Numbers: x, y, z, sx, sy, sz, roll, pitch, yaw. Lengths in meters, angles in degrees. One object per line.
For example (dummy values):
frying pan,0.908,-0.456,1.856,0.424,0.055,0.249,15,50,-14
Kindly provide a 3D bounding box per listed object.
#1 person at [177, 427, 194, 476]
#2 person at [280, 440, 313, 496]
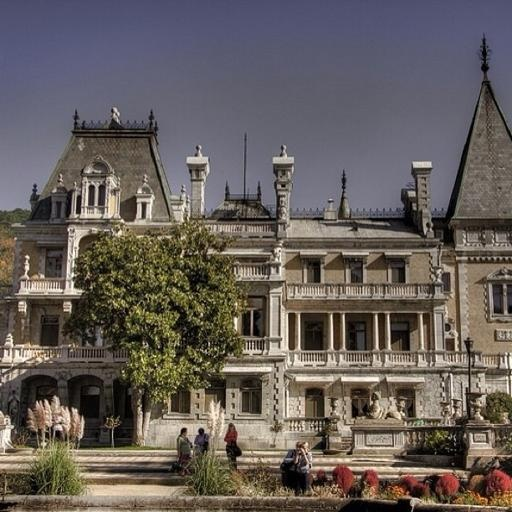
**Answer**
person,-2.304,6.343,28.812,0.460,1.584,0.402,-1,13,-18
person,1.140,5.586,23.124,0.663,1.566,0.864,16,-17,-41
